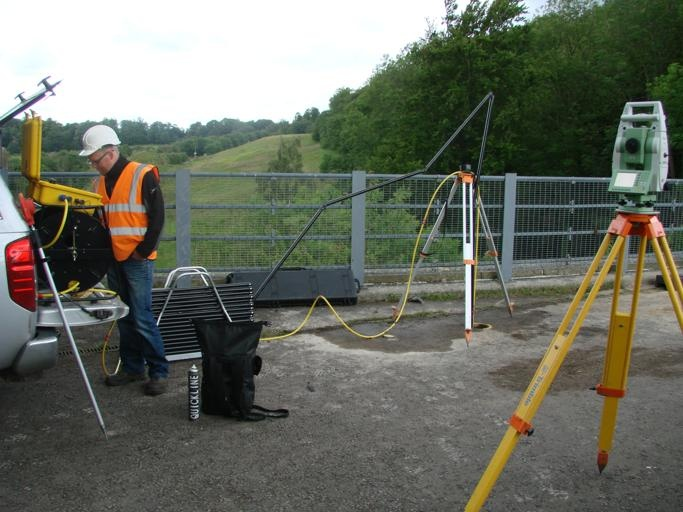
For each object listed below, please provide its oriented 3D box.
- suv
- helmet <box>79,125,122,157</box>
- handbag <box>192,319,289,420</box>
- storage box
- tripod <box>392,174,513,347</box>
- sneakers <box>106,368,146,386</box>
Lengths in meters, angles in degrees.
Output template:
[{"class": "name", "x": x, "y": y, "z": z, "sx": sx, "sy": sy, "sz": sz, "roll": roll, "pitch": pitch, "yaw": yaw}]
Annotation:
[{"class": "suv", "x": -2.527, "y": -0.315, "z": 5.034, "sx": 0.914, "sy": 2.459, "sz": 1.184, "roll": -4, "pitch": 11, "yaw": -20}, {"class": "helmet", "x": -2.442, "y": -1.170, "z": 5.852, "sx": 0.285, "sy": 0.229, "sz": 0.398, "roll": 12, "pitch": 17, "yaw": 25}, {"class": "handbag", "x": -0.933, "y": 1.096, "z": 5.555, "sx": 1.008, "sy": 0.843, "sz": 0.754, "roll": 3, "pitch": -6, "yaw": -4}, {"class": "storage box", "x": -2.659, "y": -0.905, "z": 5.469, "sx": 0.670, "sy": 0.860, "sz": 0.673, "roll": 4, "pitch": 6, "yaw": -36}, {"class": "tripod", "x": 1.958, "y": -0.140, "z": 8.412, "sx": 1.503, "sy": 2.219, "sz": 1.740, "roll": -4, "pitch": 12, "yaw": -27}, {"class": "sneakers", "x": -2.323, "y": 1.311, "z": 6.200, "sx": 0.406, "sy": 0.169, "sz": 0.156, "roll": 6, "pitch": -4, "yaw": -28}]
